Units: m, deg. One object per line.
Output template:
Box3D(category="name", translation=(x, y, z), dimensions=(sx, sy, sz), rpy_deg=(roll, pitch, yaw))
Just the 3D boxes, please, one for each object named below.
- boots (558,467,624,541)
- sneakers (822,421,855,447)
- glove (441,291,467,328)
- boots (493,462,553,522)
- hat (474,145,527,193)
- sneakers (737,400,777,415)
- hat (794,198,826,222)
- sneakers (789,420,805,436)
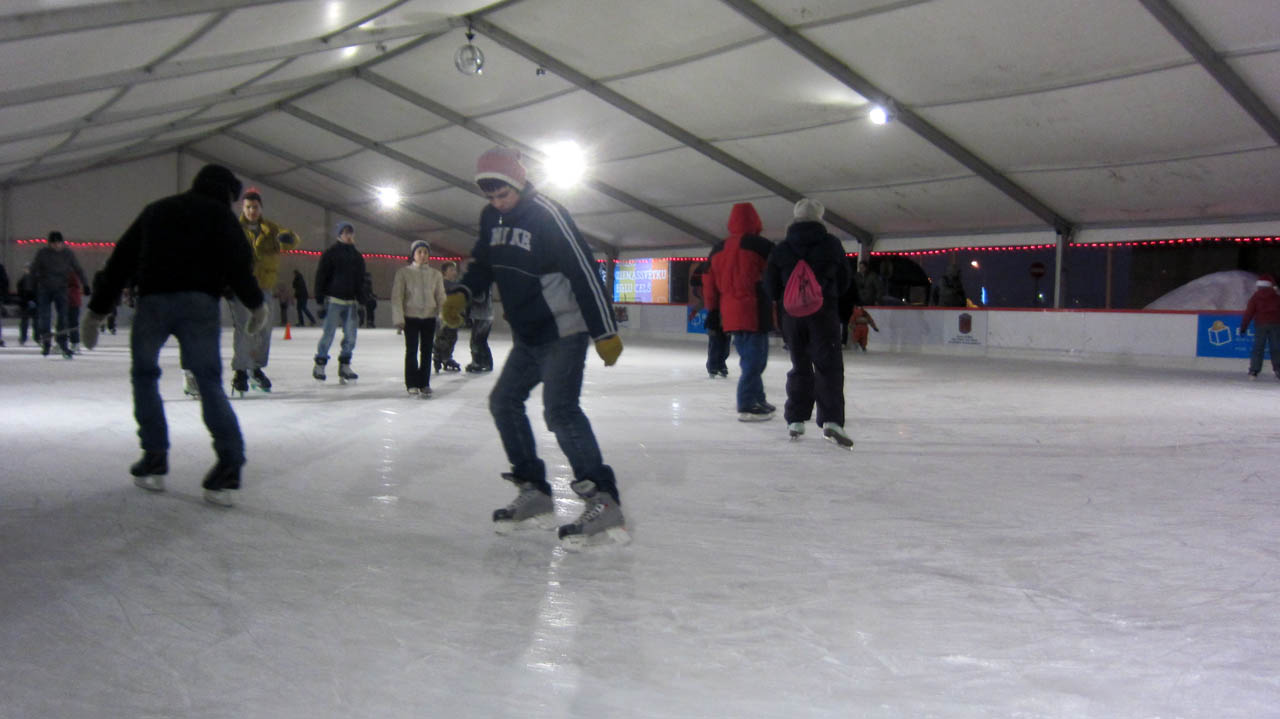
Box3D(category="boots", translation=(-0.321, 0.935, 5.602), dimensions=(0.428, 0.474, 0.217), rpy_deg=(-1, 14, -5))
Box3D(category="sneakers", translation=(1.779, 0.657, 7.881), dimensions=(0.173, 0.137, 0.392), rpy_deg=(-14, 12, -20))
Box3D(category="glove", translation=(-1.284, -0.336, 5.842), dimensions=(0.174, 0.222, 0.078), rpy_deg=(-30, 43, -29))
Box3D(category="boots", translation=(-0.812, 0.909, 5.783), dimensions=(0.483, 0.384, 0.178), rpy_deg=(-3, -5, -34))
Box3D(category="hat", translation=(-0.941, -1.249, 5.762), dimensions=(0.262, 0.281, 0.354), rpy_deg=(-16, 9, 34))
Box3D(category="sneakers", translation=(1.247, 0.498, 9.260), dimensions=(0.438, 0.154, 0.139), rpy_deg=(-1, 1, -9))
Box3D(category="hat", translation=(1.625, -1.419, 8.205), dimensions=(0.271, 0.295, 0.321), rpy_deg=(2, 11, -9))
Box3D(category="sneakers", translation=(1.471, 0.650, 8.239), dimensions=(0.142, 0.102, 0.129), rpy_deg=(4, 0, -12))
